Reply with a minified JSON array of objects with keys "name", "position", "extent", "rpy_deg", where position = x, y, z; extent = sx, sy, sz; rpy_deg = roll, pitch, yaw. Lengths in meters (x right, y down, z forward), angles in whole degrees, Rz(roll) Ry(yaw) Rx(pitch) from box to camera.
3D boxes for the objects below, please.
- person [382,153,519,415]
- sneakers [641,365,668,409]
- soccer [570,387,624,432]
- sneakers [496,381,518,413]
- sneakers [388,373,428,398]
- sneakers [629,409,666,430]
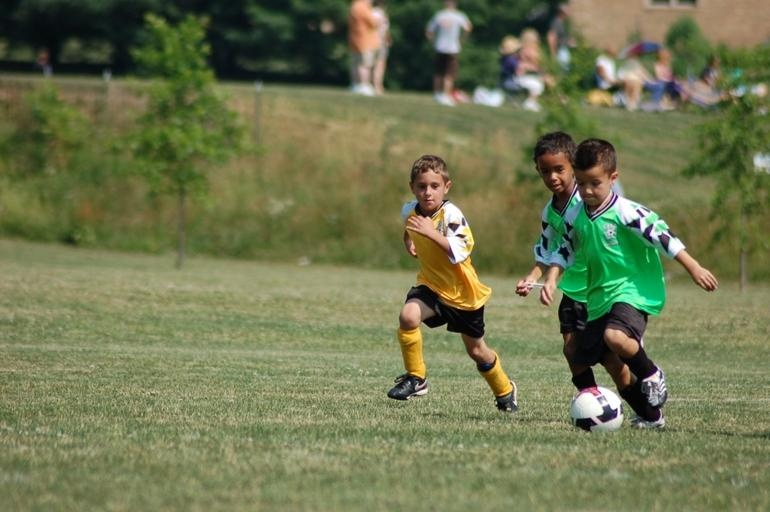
[{"name":"person","position":[0.642,0.245,14.414],"extent":[1.124,2.401,0.596],"rpy_deg":[3,11,3]},{"name":"sneakers","position":[2.548,1.255,13.777],"extent":[0.161,0.483,0.206],"rpy_deg":[-23,-39,38]},{"name":"soccer","position":[1.992,1.467,13.772],"extent":[0.388,0.404,0.378],"rpy_deg":[37,-28,-28]},{"name":"sneakers","position":[1.205,1.362,14.412],"extent":[0.219,0.265,0.456],"rpy_deg":[4,12,5]},{"name":"sneakers","position":[0.232,1.297,14.450],"extent":[0.390,0.194,0.183],"rpy_deg":[3,-5,-42]},{"name":"sneakers","position":[2.491,1.559,13.849],"extent":[0.353,0.182,0.137],"rpy_deg":[2,-1,2]}]
